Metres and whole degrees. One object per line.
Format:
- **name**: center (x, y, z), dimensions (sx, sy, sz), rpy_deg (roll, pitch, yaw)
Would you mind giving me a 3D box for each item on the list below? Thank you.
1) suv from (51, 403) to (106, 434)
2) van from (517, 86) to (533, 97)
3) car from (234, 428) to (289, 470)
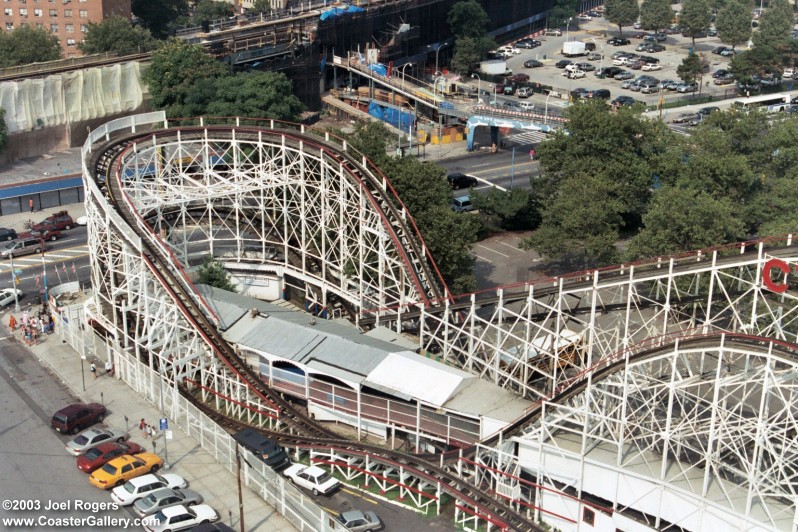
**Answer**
- **suv**: center (-28.791, 13.322, 129.622), dimensions (4.342, 1.836, 2.328), rpy_deg (-24, 39, -35)
- **van**: center (17.808, -24.338, 202.586), dimensions (1.141, 0.831, 2.572), rpy_deg (13, 25, 27)
- **car**: center (-12.189, 16.326, 127.369), dimensions (4.750, 2.371, 2.766), rpy_deg (27, 47, 28)
